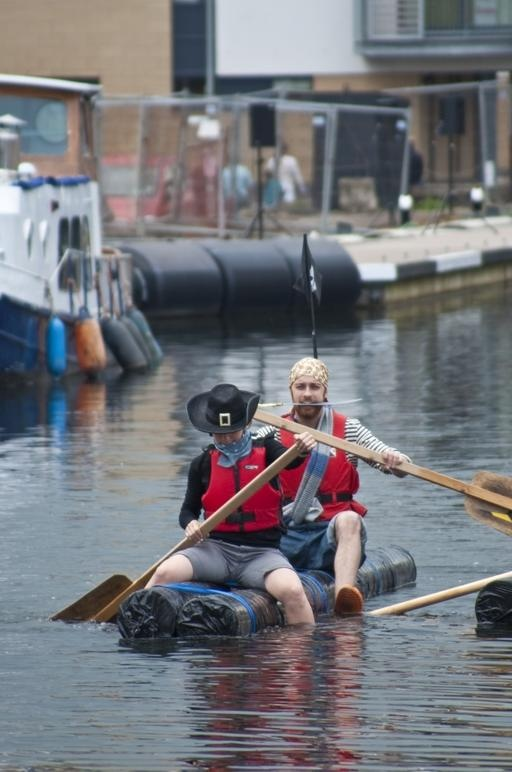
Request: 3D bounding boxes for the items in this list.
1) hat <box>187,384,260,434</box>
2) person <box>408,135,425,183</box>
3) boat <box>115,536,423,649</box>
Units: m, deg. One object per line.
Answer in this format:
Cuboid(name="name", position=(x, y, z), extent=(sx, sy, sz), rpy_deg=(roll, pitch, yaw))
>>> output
Cuboid(name="hat", position=(-0.168, 0.096, 8.594), extent=(0.314, 0.205, 0.200), rpy_deg=(2, 4, 43))
Cuboid(name="person", position=(2.705, -3.841, 34.979), extent=(0.240, 0.779, 0.814), rpy_deg=(0, 3, 5))
Cuboid(name="boat", position=(0.111, 0.936, 8.867), extent=(0.460, 0.336, 1.425), rpy_deg=(-6, -2, 40))
